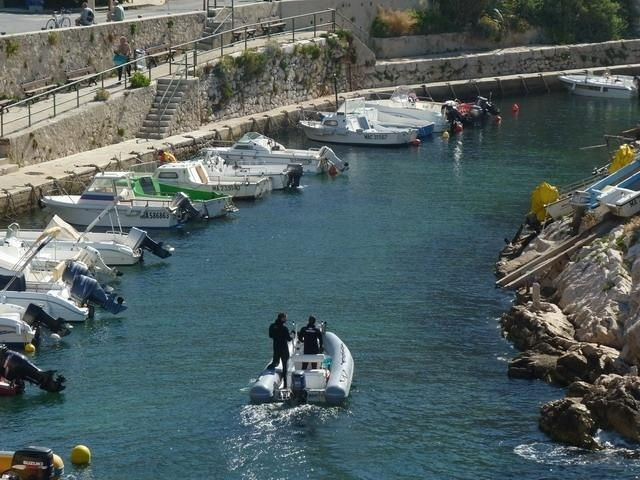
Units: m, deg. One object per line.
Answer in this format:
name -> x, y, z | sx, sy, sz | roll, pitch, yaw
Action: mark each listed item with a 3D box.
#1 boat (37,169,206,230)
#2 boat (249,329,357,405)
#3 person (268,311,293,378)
boat -> -8.243, -1.469, 50.831 | 6.668, 2.581, 2.518 | 2, 7, 0
boat -> -0.666, 4.549, 39.031 | 2.715, 2.461, 2.576 | -3, 12, -18
person -> -1.319, 3.321, 38.709 | 0.870, 1.910, 0.840 | -2, 10, -17
